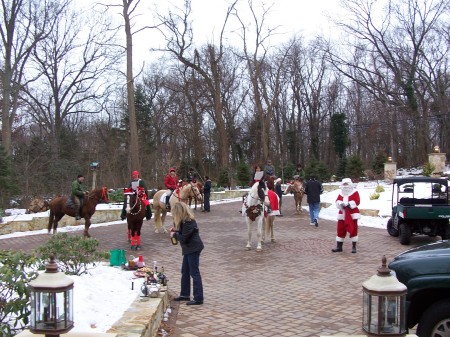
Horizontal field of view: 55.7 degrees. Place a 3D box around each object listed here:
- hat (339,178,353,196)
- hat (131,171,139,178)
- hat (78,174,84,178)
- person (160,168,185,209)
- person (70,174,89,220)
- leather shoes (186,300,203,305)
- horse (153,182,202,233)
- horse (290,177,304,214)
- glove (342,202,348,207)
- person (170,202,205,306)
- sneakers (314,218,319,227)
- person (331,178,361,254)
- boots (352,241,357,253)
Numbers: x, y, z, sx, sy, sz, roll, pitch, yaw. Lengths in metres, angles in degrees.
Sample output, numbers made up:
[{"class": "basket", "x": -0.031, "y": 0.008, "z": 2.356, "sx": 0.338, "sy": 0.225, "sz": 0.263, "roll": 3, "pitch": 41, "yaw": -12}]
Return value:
[{"class": "hat", "x": 3.957, "y": 0.657, "z": 14.079, "sx": 0.365, "sy": 0.565, "sz": 0.556, "roll": -4, "pitch": -9, "yaw": 15}, {"class": "hat", "x": -3.584, "y": 0.245, "z": 16.994, "sx": 0.284, "sy": 0.278, "sz": 0.414, "roll": -2, "pitch": 5, "yaw": -16}, {"class": "hat", "x": -5.967, "y": 0.322, "z": 17.549, "sx": 0.146, "sy": 0.131, "sz": 0.152, "roll": 2, "pitch": -5, "yaw": -25}, {"class": "person", "x": -2.441, "y": 0.914, "z": 19.330, "sx": 0.524, "sy": 1.796, "sz": 0.633, "roll": 8, "pitch": 7, "yaw": 35}, {"class": "person", "x": -6.078, "y": 1.221, "z": 17.762, "sx": 0.646, "sy": 1.946, "sz": 0.703, "roll": -1, "pitch": 1, "yaw": -20}, {"class": "leather shoes", "x": -0.675, "y": 2.974, "z": 9.341, "sx": 0.339, "sy": 0.156, "sz": 0.135, "roll": 6, "pitch": -5, "yaw": -5}, {"class": "horse", "x": -2.185, "y": 1.803, "z": 18.341, "sx": 2.592, "sy": 2.211, "sz": 0.787, "roll": -4, "pitch": -5, "yaw": 35}, {"class": "horse", "x": 4.271, "y": 1.568, "z": 25.317, "sx": 0.737, "sy": 2.132, "sz": 1.638, "roll": 0, "pitch": 1, "yaw": 9}, {"class": "glove", "x": 3.830, "y": 1.172, "z": 13.570, "sx": 0.186, "sy": 0.121, "sz": 0.095, "roll": -1, "pitch": 1, "yaw": 8}, {"class": "person", "x": -0.859, "y": 1.884, "z": 9.577, "sx": 0.712, "sy": 2.274, "sz": 0.637, "roll": -1, "pitch": 1, "yaw": -7}, {"class": "sneakers", "x": 4.122, "y": 2.501, "z": 19.390, "sx": 0.135, "sy": 0.387, "sz": 0.147, "roll": -6, "pitch": 3, "yaw": 31}, {"class": "person", "x": 3.957, "y": 1.531, "z": 13.879, "sx": 0.784, "sy": 2.379, "sz": 0.860, "roll": 0, "pitch": 1, "yaw": 19}, {"class": "boots", "x": 4.146, "y": 2.537, "z": 13.715, "sx": 0.162, "sy": 0.339, "sz": 0.518, "roll": 0, "pitch": 1, "yaw": 17}]
